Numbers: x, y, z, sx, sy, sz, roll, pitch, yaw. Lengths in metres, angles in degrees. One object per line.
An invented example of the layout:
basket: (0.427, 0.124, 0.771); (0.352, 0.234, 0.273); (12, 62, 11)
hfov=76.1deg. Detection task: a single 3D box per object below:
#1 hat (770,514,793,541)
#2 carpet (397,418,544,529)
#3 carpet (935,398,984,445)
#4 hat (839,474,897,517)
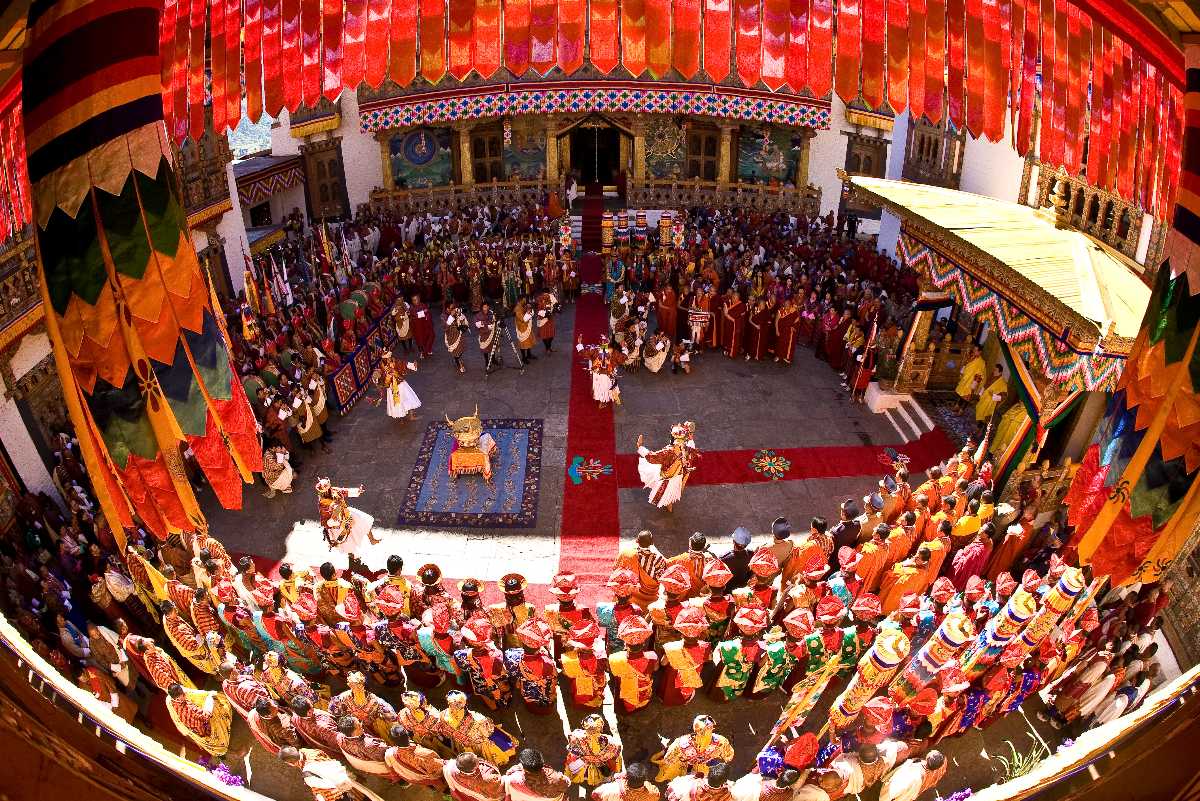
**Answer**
hat: (2.390, 1.707, 10.107); (0.284, 0.167, 0.423); (4, 28, 7)
carpet: (-2.108, 1.199, 13.207); (2.376, 0.052, 3.315); (-1, 31, -9)
carpet: (6.322, 0.345, 13.558); (0.542, 0.026, 1.336); (-2, 30, 9)
hat: (3.996, 1.444, 11.389); (0.685, 0.300, 0.230); (-35, 18, 9)
